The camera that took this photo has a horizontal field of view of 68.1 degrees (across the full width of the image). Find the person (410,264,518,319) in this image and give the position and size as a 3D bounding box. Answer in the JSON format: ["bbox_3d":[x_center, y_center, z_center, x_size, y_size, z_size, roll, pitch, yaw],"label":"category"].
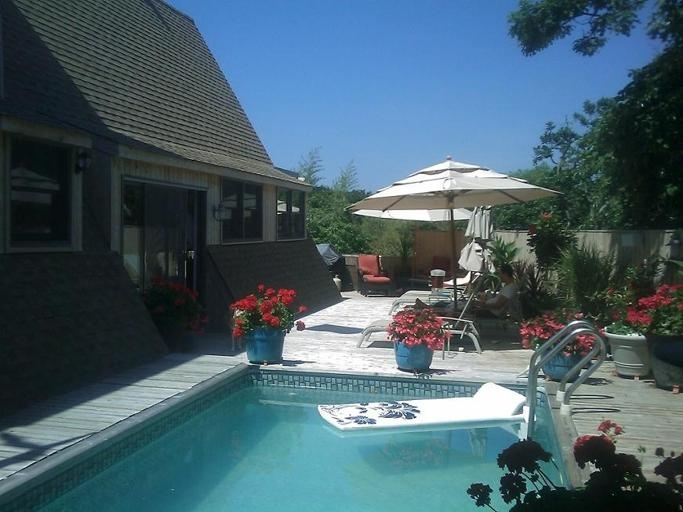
[{"bbox_3d":[2.475,0.633,10.187,2.019,1.228,1.043,3,1,11],"label":"person"}]

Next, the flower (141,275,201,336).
[{"bbox_3d":[-3.034,0.848,9.074,0.962,0.990,0.918,1,-2,-33],"label":"flower"}]
